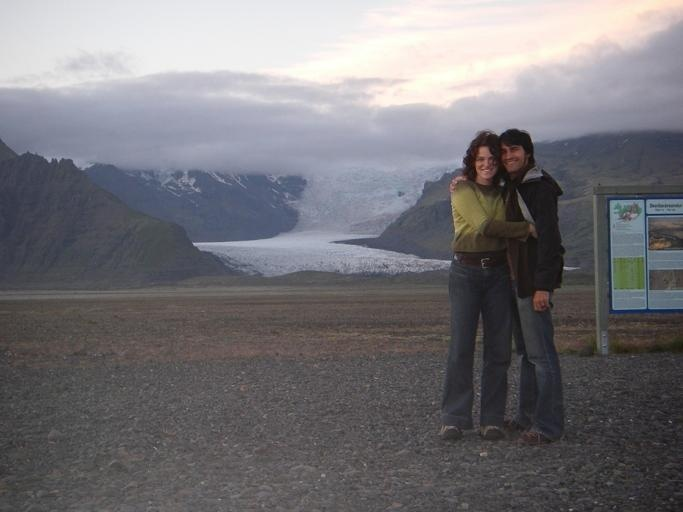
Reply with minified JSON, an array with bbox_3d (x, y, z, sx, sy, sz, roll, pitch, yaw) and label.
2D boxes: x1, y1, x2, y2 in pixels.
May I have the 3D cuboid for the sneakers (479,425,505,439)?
[{"bbox_3d":[1.509,1.774,7.592,0.162,0.058,0.157,-1,-1,31],"label":"sneakers"}]

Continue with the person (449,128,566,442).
[{"bbox_3d":[1.914,0.271,7.527,0.624,3.078,0.586,-5,3,2],"label":"person"}]

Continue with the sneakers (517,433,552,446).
[{"bbox_3d":[1.887,1.786,7.460,0.318,0.123,0.120,4,-1,1],"label":"sneakers"}]
